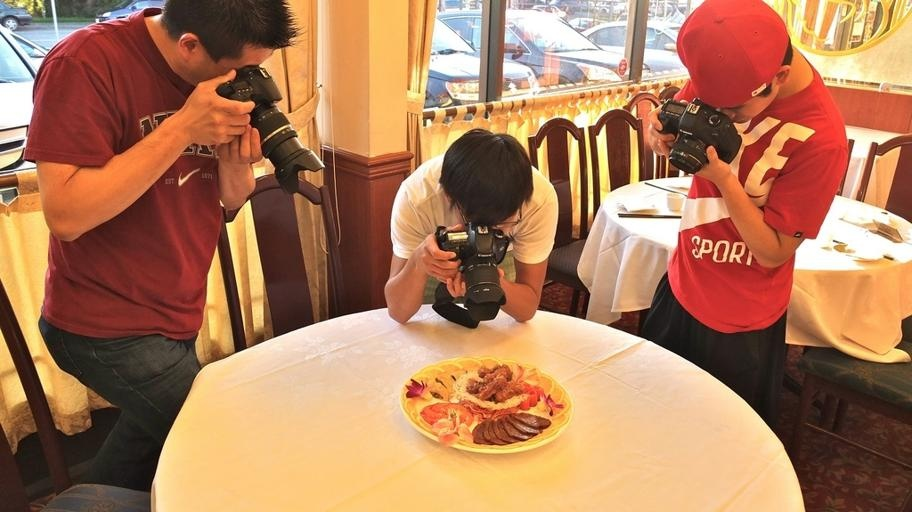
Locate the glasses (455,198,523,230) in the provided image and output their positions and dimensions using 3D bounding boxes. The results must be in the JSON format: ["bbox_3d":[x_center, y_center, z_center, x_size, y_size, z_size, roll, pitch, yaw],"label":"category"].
[{"bbox_3d":[0.125,-0.154,2.292,0.150,0.140,0.066,-10,34,-45],"label":"glasses"}]

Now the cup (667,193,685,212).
[{"bbox_3d":[1.269,-0.323,3.465,0.106,0.077,0.096,-21,33,-34],"label":"cup"}]

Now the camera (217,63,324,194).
[{"bbox_3d":[-0.680,-0.425,2.164,0.289,0.476,0.226,-31,1,-34],"label":"camera"}]

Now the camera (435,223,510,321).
[{"bbox_3d":[0.046,0.050,2.137,0.285,0.145,0.369,7,68,1],"label":"camera"}]
